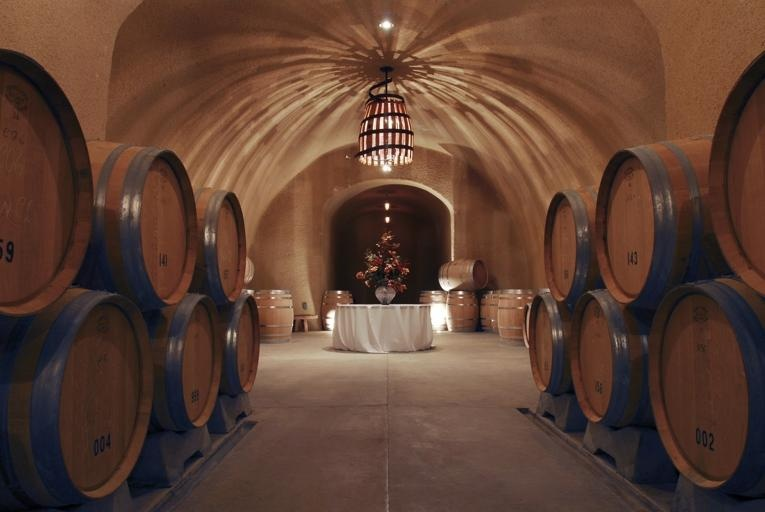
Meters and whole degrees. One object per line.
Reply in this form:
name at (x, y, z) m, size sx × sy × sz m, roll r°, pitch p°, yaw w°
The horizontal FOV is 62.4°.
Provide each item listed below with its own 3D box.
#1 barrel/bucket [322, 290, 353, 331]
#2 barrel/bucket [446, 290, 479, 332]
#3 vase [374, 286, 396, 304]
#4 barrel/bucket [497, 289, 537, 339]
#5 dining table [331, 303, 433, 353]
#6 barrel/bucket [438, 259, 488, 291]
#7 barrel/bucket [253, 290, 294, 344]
barrel/bucket at (-1.015, 1.199, 14.038) m, size 0.795 × 0.869 × 0.782 m, roll 0°, pitch -6°, yaw 0°
barrel/bucket at (1.733, 1.210, 13.764) m, size 0.753 × 0.848 × 0.767 m, roll 0°, pitch -6°, yaw 0°
vase at (0.077, 0.706, 10.935) m, size 0.373 × 0.350 × 0.348 m, roll -1°, pitch 6°, yaw -24°
barrel/bucket at (2.183, 0.966, 10.648) m, size 0.716 × 0.802 × 0.760 m, roll 0°, pitch -2°, yaw 0°
dining table at (-0.009, 1.133, 9.897) m, size 1.573 × 0.756 × 0.584 m, roll 0°, pitch 5°, yaw -3°
barrel/bucket at (1.707, 0.426, 13.620) m, size 0.601 × 0.758 × 1.052 m, roll -4°, pitch 6°, yaw -37°
barrel/bucket at (-1.928, 1.021, 11.029) m, size 0.849 × 0.909 × 0.882 m, roll 0°, pitch 0°, yaw 0°
